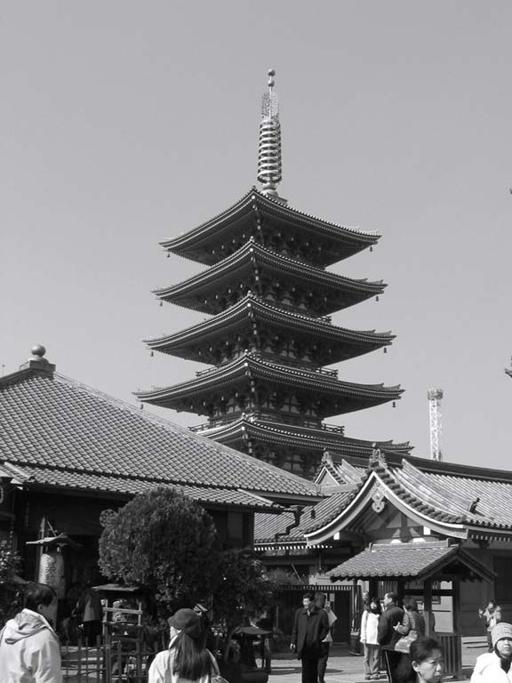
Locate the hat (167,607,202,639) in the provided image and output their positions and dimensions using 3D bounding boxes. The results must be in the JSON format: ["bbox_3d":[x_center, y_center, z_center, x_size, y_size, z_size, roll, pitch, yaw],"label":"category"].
[{"bbox_3d":[-0.630,2.451,12.024,0.262,0.132,0.201,29,20,30],"label":"hat"}]
